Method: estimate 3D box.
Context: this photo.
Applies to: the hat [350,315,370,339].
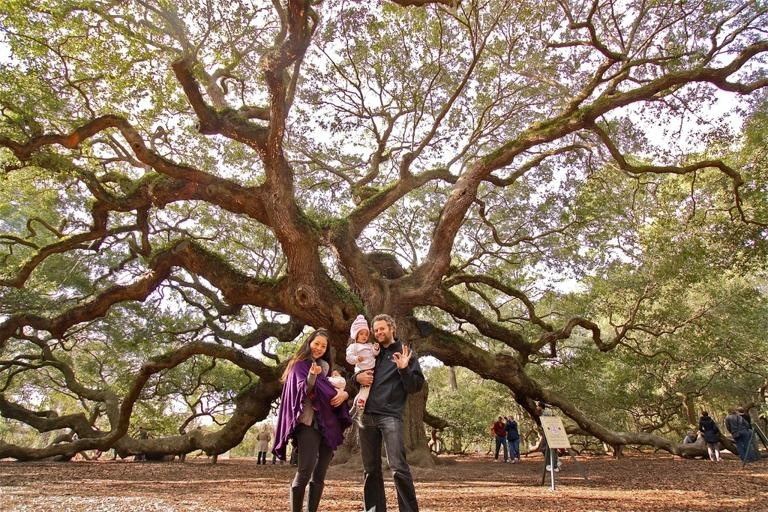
[{"bbox_3d":[-0.530,1.545,11.499,0.490,0.618,0.466,6,-11,-42],"label":"hat"}]
